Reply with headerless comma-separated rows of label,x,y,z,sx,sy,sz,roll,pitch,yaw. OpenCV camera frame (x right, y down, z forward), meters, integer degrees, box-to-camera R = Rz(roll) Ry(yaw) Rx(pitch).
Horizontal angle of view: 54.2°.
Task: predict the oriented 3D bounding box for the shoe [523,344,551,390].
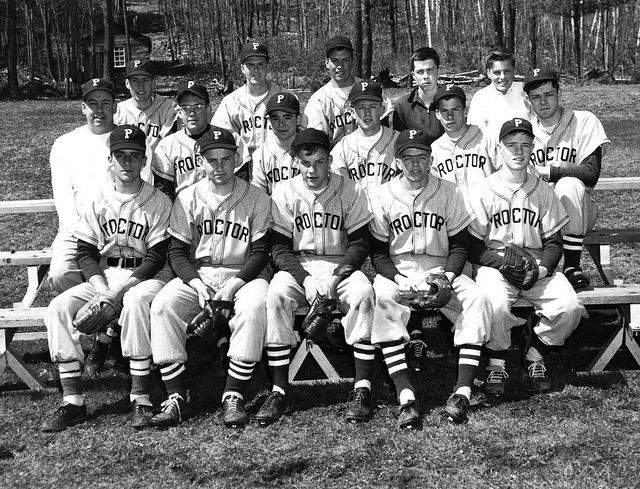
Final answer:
shoe,2.129,1.230,6.095,0.111,0.138,0.350,-8,40,6

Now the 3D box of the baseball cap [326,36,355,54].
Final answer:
baseball cap,0.221,-2.492,7.822,0.322,0.230,0.436,-4,13,0

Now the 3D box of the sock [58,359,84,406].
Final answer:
sock,-2.306,1.273,5.788,0.181,0.419,0.213,-9,14,-24

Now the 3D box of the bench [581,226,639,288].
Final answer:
bench,3.652,0.184,7.882,0.646,0.440,0.401,-4,15,-7

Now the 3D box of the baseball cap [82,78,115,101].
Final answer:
baseball cap,-2.584,-1.802,7.257,0.337,0.233,0.411,-12,15,-33

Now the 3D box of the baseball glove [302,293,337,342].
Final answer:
baseball glove,-0.026,0.692,5.815,0.299,0.398,0.160,28,-16,-3

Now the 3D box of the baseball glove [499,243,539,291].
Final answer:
baseball glove,1.912,0.221,6.107,0.418,0.299,0.178,40,36,27

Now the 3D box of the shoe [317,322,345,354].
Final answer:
shoe,0.107,0.923,6.317,0.299,0.302,0.071,40,-19,-33

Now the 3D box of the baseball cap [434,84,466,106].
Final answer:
baseball cap,1.447,-1.665,7.006,0.340,0.232,0.340,-2,13,8

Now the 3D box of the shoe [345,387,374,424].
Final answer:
shoe,0.369,1.455,5.720,0.235,0.235,0.364,2,14,25

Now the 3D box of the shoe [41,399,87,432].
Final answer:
shoe,-2.341,1.544,5.700,0.159,0.216,0.484,-5,0,31

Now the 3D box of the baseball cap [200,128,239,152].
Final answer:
baseball cap,-1.047,-1.041,6.297,0.364,0.231,0.261,-5,13,-7

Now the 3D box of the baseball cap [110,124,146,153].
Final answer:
baseball cap,-1.990,-1.072,6.425,0.345,0.280,0.314,-8,13,-17

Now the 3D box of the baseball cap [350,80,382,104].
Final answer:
baseball cap,0.511,-1.713,7.064,0.356,0.243,0.288,-3,13,4

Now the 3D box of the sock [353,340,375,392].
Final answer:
sock,0.409,1.137,5.872,0.204,0.476,0.272,-3,12,5

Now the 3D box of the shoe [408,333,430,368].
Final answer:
shoe,1.049,1.121,6.772,0.199,0.244,0.575,-1,20,7

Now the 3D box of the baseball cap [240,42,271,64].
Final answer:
baseball cap,-0.851,-2.409,7.864,0.339,0.247,0.400,-2,13,6

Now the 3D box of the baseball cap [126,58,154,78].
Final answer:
baseball cap,-2.311,-2.229,7.918,0.329,0.251,0.447,-7,13,-16

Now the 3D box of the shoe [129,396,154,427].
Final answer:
shoe,-1.628,1.508,5.691,0.181,0.189,0.296,-7,13,-16

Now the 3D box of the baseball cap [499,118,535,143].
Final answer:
baseball cap,1.955,-1.150,6.460,0.313,0.203,0.437,1,-6,2

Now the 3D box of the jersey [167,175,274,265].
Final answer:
jersey,-1.020,-0.205,6.373,0.893,0.760,0.357,1,4,-2

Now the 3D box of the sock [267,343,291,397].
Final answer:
sock,-0.380,1.159,5.864,0.215,0.513,0.213,-5,12,-6

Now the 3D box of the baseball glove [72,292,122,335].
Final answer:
baseball glove,-2.076,0.601,5.840,0.415,0.310,0.174,-37,38,10

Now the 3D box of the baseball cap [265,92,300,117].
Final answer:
baseball cap,-0.440,-1.578,7.108,0.377,0.270,0.369,-5,13,-5

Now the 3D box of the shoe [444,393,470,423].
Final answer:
shoe,1.246,1.479,5.703,0.188,0.236,0.499,27,1,21

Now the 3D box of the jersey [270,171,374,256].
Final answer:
jersey,0.005,-0.302,6.546,1.143,0.934,0.463,-1,17,2

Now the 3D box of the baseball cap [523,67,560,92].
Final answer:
baseball cap,2.511,-1.878,7.130,0.370,0.248,0.276,0,13,17

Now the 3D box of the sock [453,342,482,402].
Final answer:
sock,1.366,1.126,5.804,0.188,0.651,0.273,5,-5,18

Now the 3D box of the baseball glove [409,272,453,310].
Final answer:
baseball glove,1.043,0.484,5.956,0.414,0.400,0.308,0,13,18

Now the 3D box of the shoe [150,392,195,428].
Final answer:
shoe,-1.367,1.497,5.779,0.204,0.283,0.621,8,2,19

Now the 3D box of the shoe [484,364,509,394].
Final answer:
shoe,1.685,1.308,6.035,0.133,0.127,0.297,0,15,5

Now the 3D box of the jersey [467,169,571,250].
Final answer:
jersey,2.062,-0.321,6.511,0.822,0.682,0.349,1,3,1

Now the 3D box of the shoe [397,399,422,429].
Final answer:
shoe,0.779,1.496,5.554,0.191,0.184,0.212,-2,13,5

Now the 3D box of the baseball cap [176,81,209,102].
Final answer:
baseball cap,-1.491,-1.743,7.144,0.360,0.229,0.411,-3,13,4

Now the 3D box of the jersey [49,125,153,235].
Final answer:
jersey,-2.389,-0.688,6.827,1.171,1.279,0.728,-1,9,-2

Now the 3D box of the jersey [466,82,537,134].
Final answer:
jersey,2.225,-1.633,7.595,0.949,0.804,0.474,0,1,9

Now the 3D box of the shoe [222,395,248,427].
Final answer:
shoe,-0.795,1.502,5.729,0.211,0.225,0.515,-2,5,-13

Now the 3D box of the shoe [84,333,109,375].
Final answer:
shoe,-2.431,1.183,6.828,0.160,0.298,0.492,21,40,-23

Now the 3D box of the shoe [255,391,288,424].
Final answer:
shoe,-0.426,1.483,5.765,0.166,0.219,0.512,-7,2,27

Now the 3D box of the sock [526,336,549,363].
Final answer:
sock,2.133,1.049,6.173,0.107,0.142,0.328,6,7,10

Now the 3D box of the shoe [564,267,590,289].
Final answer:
shoe,2.720,0.363,6.640,0.135,0.193,0.384,-2,10,5

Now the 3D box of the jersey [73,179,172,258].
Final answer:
jersey,-2.046,-0.229,6.581,1.013,0.849,0.456,4,18,1

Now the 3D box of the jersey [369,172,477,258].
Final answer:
jersey,1.027,-0.223,6.530,1.136,0.934,0.493,-2,17,18
